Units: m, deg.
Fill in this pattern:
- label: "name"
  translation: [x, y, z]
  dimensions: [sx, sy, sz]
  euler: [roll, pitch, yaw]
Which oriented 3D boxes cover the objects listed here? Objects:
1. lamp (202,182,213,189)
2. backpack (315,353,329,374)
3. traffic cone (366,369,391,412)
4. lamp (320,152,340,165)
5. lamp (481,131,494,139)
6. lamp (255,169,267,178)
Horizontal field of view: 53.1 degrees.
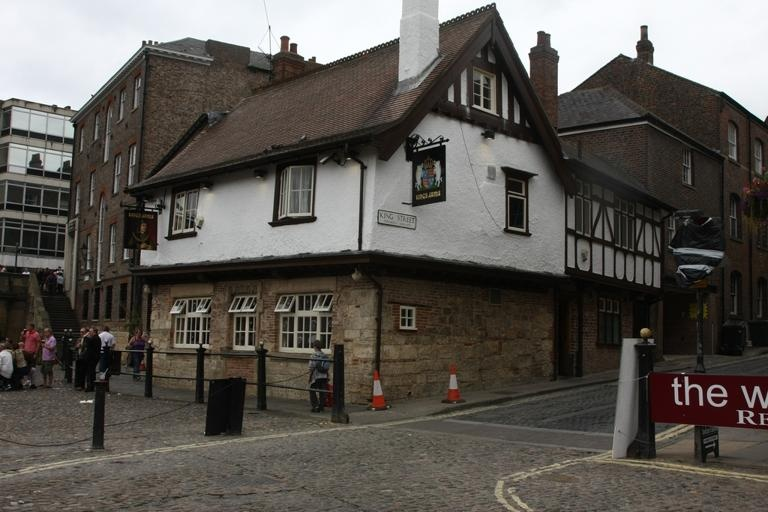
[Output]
- label: "lamp"
  translation: [-6.336, -2.505, 27.936]
  dimensions: [0.300, 0.280, 0.303]
  euler: [10, -10, -36]
- label: "backpack"
  translation: [-1.778, 3.136, 21.781]
  dimensions: [0.407, 0.737, 0.891]
  euler: [0, 1, -5]
- label: "traffic cone"
  translation: [-0.142, 3.898, 22.449]
  dimensions: [0.590, 1.129, 1.114]
  euler: [1, 1, 0]
- label: "lamp"
  translation: [-1.729, -3.071, 24.192]
  dimensions: [0.398, 0.361, 0.816]
  euler: [0, 1, -41]
- label: "lamp"
  translation: [3.517, -4.104, 26.056]
  dimensions: [0.507, 0.286, 0.198]
  euler: [0, 1, -39]
- label: "lamp"
  translation: [-4.133, -2.765, 26.044]
  dimensions: [0.324, 0.252, 0.365]
  euler: [-8, -10, 41]
